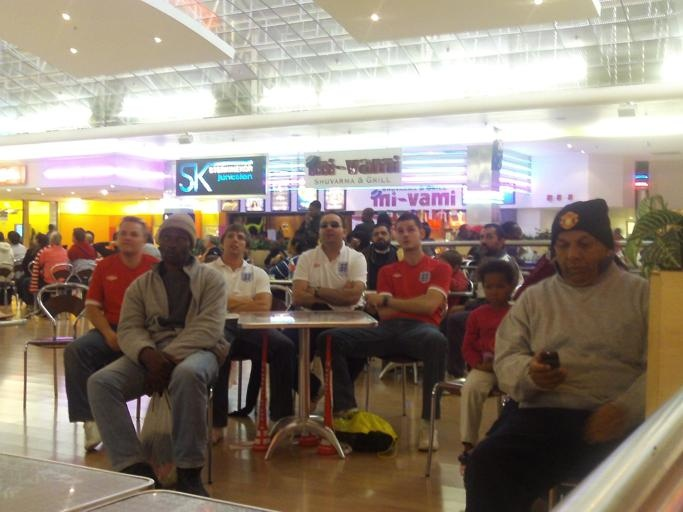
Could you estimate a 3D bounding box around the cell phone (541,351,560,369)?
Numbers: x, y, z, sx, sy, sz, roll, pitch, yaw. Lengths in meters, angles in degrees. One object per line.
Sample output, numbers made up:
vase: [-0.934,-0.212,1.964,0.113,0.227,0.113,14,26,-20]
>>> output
cell phone: [0.843,0.418,2.475,0.051,0.056,0.073,0,-7,3]

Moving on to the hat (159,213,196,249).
hat: [-1.001,-0.180,3.770,0.196,0.208,0.216,3,-21,-3]

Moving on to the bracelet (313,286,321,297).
bracelet: [-0.178,0.271,4.497,0.054,0.054,0.055,2,-3,11]

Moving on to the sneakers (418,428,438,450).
sneakers: [0.556,1.187,3.926,0.129,0.117,0.234,0,-5,2]

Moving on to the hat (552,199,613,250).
hat: [1.044,-0.126,2.724,0.220,0.192,0.215,1,-8,-13]

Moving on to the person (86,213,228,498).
person: [-0.999,0.512,3.406,0.720,1.499,0.769,0,2,-8]
